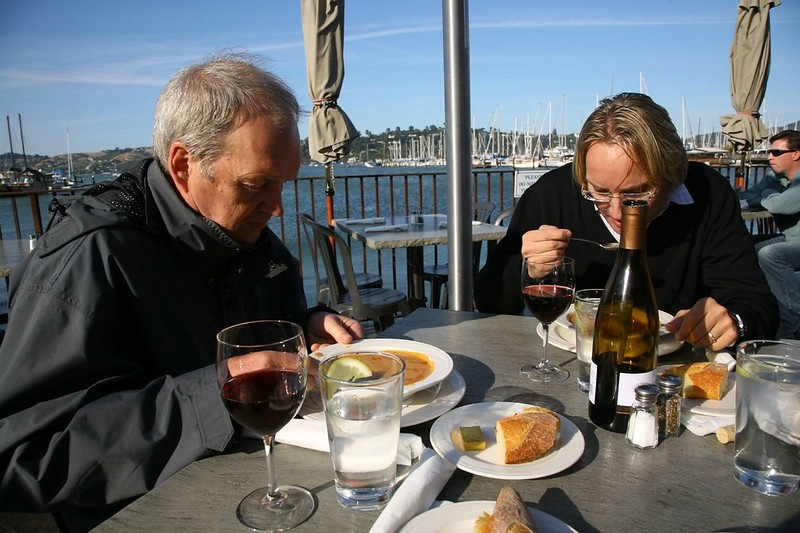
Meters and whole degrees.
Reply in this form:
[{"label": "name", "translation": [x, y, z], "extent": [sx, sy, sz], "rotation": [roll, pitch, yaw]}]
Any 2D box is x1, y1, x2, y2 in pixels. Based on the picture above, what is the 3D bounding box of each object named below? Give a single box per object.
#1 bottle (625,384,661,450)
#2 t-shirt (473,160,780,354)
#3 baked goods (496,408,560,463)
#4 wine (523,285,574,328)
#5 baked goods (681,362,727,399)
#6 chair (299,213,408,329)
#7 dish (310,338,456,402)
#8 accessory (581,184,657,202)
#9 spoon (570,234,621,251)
[{"label": "bottle", "translation": [0.717, 0.444, 1.789], "extent": [0.088, 0.165, 0.093], "rotation": [4, 3, 0]}, {"label": "t-shirt", "translation": [1.249, -0.122, 3.093], "extent": [1.124, 0.710, 1.013], "rotation": [8, 17, 35]}, {"label": "baked goods", "translation": [0.374, 0.472, 1.734], "extent": [0.139, 0.046, 0.137], "rotation": [-18, 25, -13]}, {"label": "wine", "translation": [0.518, 0.133, 2.130], "extent": [0.142, 0.157, 0.141], "rotation": [1, 2, 1]}, {"label": "baked goods", "translation": [0.977, 0.357, 1.925], "extent": [0.103, 0.071, 0.138], "rotation": [5, 22, 32]}, {"label": "chair", "translation": [-0.271, 0.251, 4.875], "extent": [0.870, 1.142, 0.733], "rotation": [1, 10, -3]}, {"label": "dish", "translation": [-0.014, 0.341, 2.093], "extent": [0.376, 0.085, 0.381], "rotation": [19, 18, 33]}, {"label": "accessory", "translation": [0.987, -0.317, 2.730], "extent": [0.305, 0.075, 0.205], "rotation": [0, 12, 22]}, {"label": "spoon", "translation": [1.001, -0.121, 3.077], "extent": [0.045, 0.060, 0.292], "rotation": [-18, 25, -36]}]
